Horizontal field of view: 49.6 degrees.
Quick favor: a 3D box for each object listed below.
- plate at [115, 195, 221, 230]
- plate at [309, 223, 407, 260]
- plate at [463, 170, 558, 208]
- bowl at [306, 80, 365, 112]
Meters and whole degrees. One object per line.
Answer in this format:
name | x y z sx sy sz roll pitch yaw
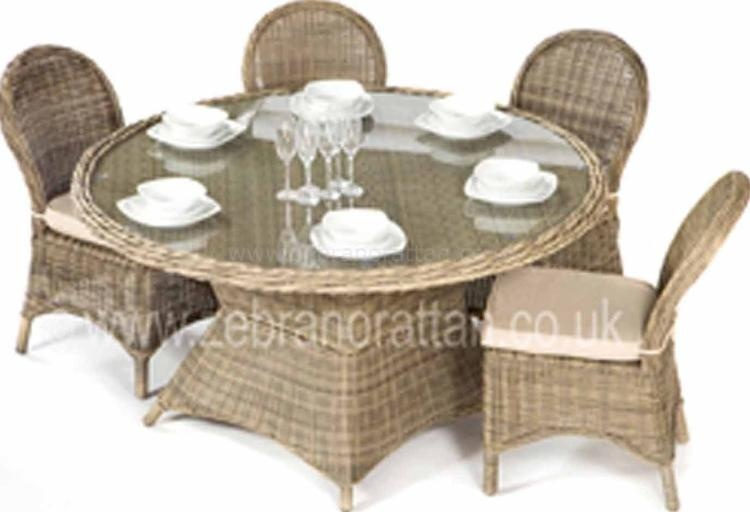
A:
plate | -0.865 -0.201 3.352 0.429 0.093 0.220 6 31 7
plate | -0.068 -0.065 3.156 0.376 0.098 0.187 4 31 5
plate | 0.581 -0.268 3.476 0.256 0.054 0.193 0 35 8
bowl | -0.198 -0.834 4.209 0.222 0.052 0.217 3 28 -2
